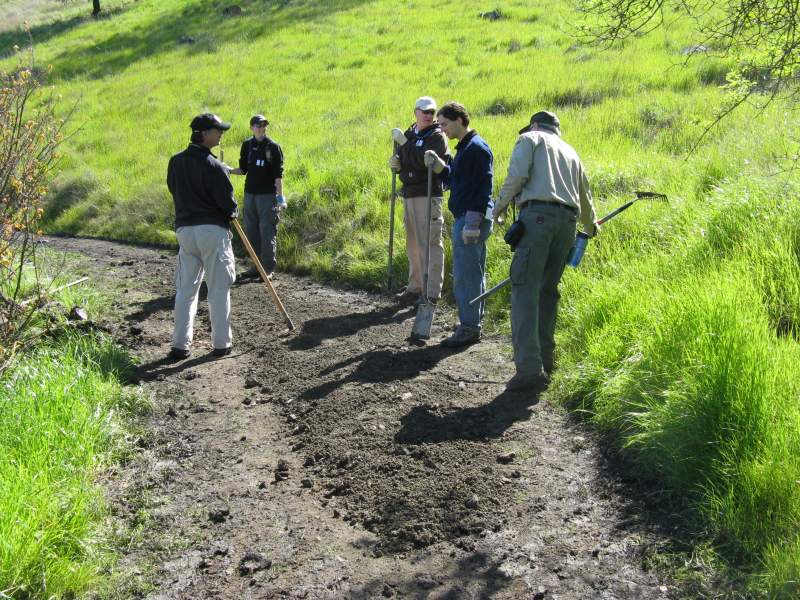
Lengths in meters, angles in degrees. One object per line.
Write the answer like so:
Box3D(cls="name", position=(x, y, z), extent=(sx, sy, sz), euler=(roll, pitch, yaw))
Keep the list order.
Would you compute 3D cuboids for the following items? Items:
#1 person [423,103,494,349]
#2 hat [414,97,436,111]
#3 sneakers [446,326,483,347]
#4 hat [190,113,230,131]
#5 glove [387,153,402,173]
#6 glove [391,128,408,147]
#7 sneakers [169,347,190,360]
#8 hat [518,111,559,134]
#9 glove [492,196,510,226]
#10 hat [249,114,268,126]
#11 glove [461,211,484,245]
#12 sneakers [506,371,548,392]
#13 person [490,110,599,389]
Box3D(cls="person", position=(0.717, -0.849, 10.743), extent=(0.738, 2.672, 1.316), euler=(-4, 26, 2))
Box3D(cls="hat", position=(0.306, -2.403, 11.496), extent=(0.202, 0.182, 0.301), euler=(3, 5, -9))
Box3D(cls="sneakers", position=(0.741, 0.408, 10.963), extent=(0.449, 0.237, 0.187), euler=(-7, 13, -25))
Box3D(cls="hat", position=(-2.144, -1.970, 10.585), extent=(0.358, 0.202, 0.250), euler=(-6, 29, -16))
Box3D(cls="glove", position=(-0.047, -1.746, 11.828), extent=(0.146, 0.211, 0.195), euler=(-2, -4, 16))
Box3D(cls="glove", position=(0.006, -2.035, 11.652), extent=(0.174, 0.207, 0.193), euler=(-4, 27, 4))
Box3D(cls="sneakers", position=(-2.514, 0.628, 10.613), extent=(0.183, 0.130, 0.192), euler=(-4, -6, -25))
Box3D(cls="hat", position=(1.487, -1.914, 9.986), extent=(0.385, 0.235, 0.285), euler=(5, 10, 14))
Box3D(cls="glove", position=(1.100, -0.929, 9.876), extent=(0.100, 0.321, 0.223), euler=(6, 23, -2))
Box3D(cls="hat", position=(-1.936, -2.475, 12.874), extent=(0.203, 0.148, 0.203), euler=(-18, 30, -22))
Box3D(cls="glove", position=(0.809, -0.794, 10.349), extent=(0.230, 0.401, 0.194), euler=(-6, 26, -2))
Box3D(cls="sneakers", position=(1.348, 0.881, 9.868), extent=(0.343, 0.182, 0.212), euler=(-4, 0, 5))
Box3D(cls="person", position=(1.466, -0.436, 9.841), extent=(0.678, 2.455, 1.263), euler=(9, 29, 28))
